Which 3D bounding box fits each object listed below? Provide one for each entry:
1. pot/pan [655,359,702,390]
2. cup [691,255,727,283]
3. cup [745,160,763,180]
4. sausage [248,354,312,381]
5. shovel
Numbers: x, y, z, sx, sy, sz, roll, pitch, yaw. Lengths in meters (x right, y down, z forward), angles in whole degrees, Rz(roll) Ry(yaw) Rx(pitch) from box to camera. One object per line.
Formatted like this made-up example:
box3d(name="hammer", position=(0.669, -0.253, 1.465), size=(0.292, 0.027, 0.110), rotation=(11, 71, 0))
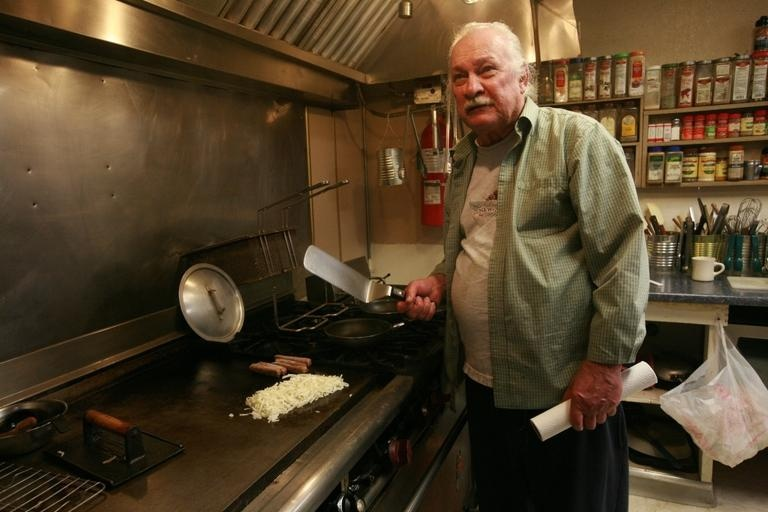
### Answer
box3d(name="pot/pan", position=(1.700, 0.683, 3.172), size=(0.179, 0.052, 0.165), rotation=(-4, 3, -19))
box3d(name="cup", position=(1.849, 0.064, 3.151), size=(0.135, 0.148, 0.206), rotation=(-12, 13, -39))
box3d(name="cup", position=(2.196, -0.512, 3.242), size=(0.110, 0.121, 0.105), rotation=(2, 4, 0))
box3d(name="sausage", position=(-0.404, 0.432, 2.131), size=(0.248, 0.042, 0.133), rotation=(-1, 14, 14))
box3d(name="shovel", position=(-0.129, 0.077, 2.322), size=(0.400, 0.289, 0.165), rotation=(-6, 14, -7))
